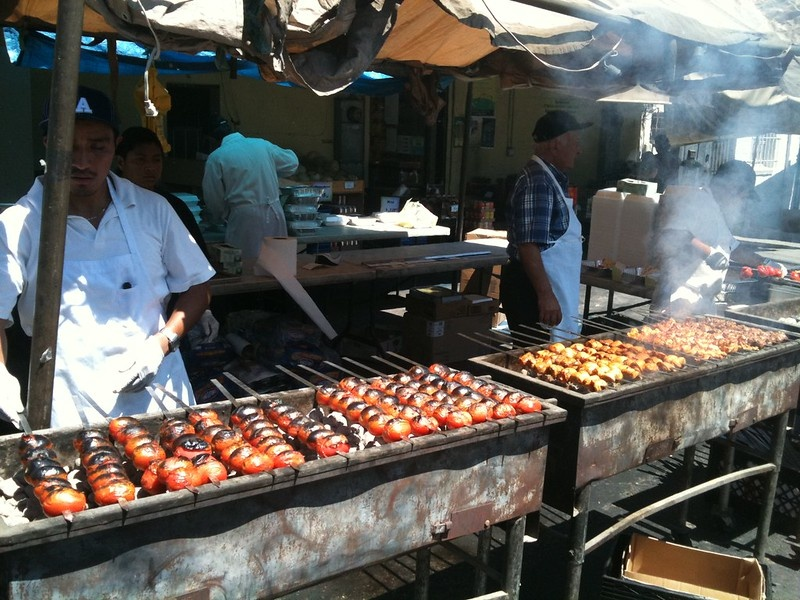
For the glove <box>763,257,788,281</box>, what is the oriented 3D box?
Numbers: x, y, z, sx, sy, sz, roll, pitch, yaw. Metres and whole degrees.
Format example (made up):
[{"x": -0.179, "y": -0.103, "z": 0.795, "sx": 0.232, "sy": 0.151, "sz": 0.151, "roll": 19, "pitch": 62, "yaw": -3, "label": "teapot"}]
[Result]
[{"x": 3.746, "y": -0.328, "z": 6.593, "sx": 0.224, "sy": 0.096, "sz": 0.297, "roll": 18, "pitch": 15, "yaw": -7, "label": "glove"}]

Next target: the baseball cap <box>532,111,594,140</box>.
[{"x": 1.105, "y": -1.187, "z": 4.499, "sx": 0.340, "sy": 0.171, "sz": 0.232, "roll": -13, "pitch": 14, "yaw": 3, "label": "baseball cap"}]

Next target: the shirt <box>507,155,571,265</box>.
[{"x": 1.067, "y": -0.578, "z": 4.780, "sx": 0.542, "sy": 0.829, "sz": 0.933, "roll": -1, "pitch": 12, "yaw": 5, "label": "shirt"}]

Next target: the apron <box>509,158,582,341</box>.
[{"x": 0.979, "y": -0.305, "z": 4.494, "sx": 0.393, "sy": 1.397, "sz": 0.674, "roll": -9, "pitch": 38, "yaw": 7, "label": "apron"}]

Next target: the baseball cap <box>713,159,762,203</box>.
[{"x": 3.140, "y": -1.134, "z": 6.307, "sx": 0.486, "sy": 0.446, "sz": 0.310, "roll": -6, "pitch": 21, "yaw": -18, "label": "baseball cap"}]

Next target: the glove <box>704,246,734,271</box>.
[{"x": 2.783, "y": -0.372, "z": 5.817, "sx": 0.187, "sy": 0.184, "sz": 0.214, "roll": -2, "pitch": 18, "yaw": 5, "label": "glove"}]
